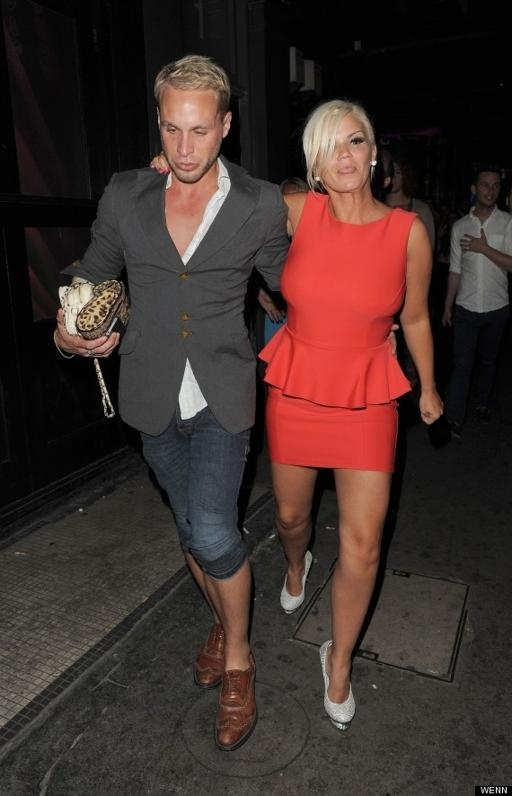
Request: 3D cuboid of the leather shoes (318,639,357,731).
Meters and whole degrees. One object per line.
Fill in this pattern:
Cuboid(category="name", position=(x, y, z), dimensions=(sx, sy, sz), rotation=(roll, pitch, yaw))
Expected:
Cuboid(category="leather shoes", position=(0.272, 0.972, 1.943), dimensions=(0.157, 0.162, 0.350), rotation=(0, 22, 3))

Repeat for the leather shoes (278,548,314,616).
Cuboid(category="leather shoes", position=(0.196, 0.813, 2.612), dimensions=(0.094, 0.278, 0.067), rotation=(10, -14, 43))

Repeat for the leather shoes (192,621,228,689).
Cuboid(category="leather shoes", position=(-0.152, 0.936, 2.180), dimensions=(0.110, 0.113, 0.305), rotation=(15, 21, 3))

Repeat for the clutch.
Cuboid(category="clutch", position=(-0.444, -0.239, 1.659), dimensions=(0.187, 0.071, 0.216), rotation=(-7, 62, 9))

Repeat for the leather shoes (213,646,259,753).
Cuboid(category="leather shoes", position=(-0.058, 0.958, 1.893), dimensions=(0.120, 0.120, 0.337), rotation=(-5, 22, 11))
